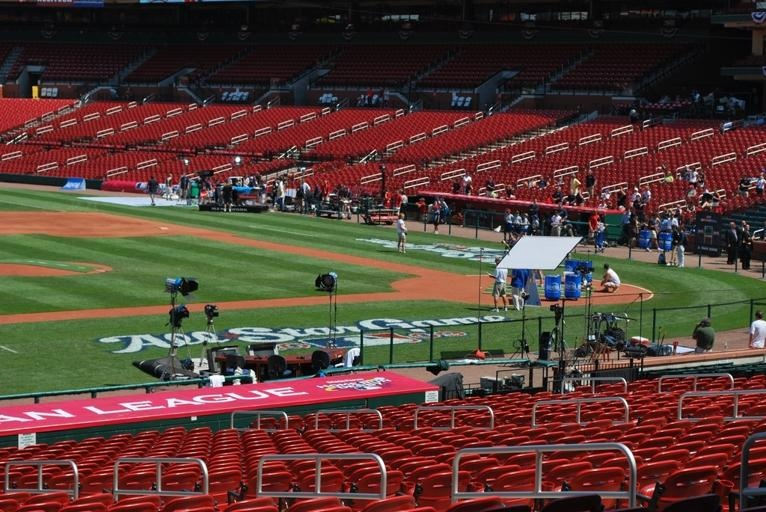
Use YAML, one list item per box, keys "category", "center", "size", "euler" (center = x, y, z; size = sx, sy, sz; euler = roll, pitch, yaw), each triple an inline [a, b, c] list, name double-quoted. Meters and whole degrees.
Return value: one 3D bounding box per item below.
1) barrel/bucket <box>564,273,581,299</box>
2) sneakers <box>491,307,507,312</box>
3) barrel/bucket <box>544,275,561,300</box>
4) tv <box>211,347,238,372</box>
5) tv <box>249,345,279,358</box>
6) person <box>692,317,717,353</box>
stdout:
- category: "barrel/bucket"
  center: [9.381, 1.519, 77.261]
  size: [0.865, 1.336, 1.059]
  euler: [1, -4, 7]
- category: "sneakers"
  center: [5.619, 2.644, 75.674]
  size: [0.756, 0.211, 0.217]
  euler: [-2, 12, -1]
- category: "barrel/bucket"
  center: [8.364, 1.629, 77.184]
  size: [0.803, 1.259, 0.983]
  euler: [1, -4, 4]
- category: "tv"
  center: [-6.789, 4.523, 66.683]
  size: [1.410, 0.685, 0.637]
  euler: [1, 5, -26]
- category: "tv"
  center: [-5.195, 4.144, 67.851]
  size: [1.304, 0.528, 1.041]
  euler: [1, -3, -4]
- category: "person"
  center: [14.228, 3.572, 69.486]
  size: [0.922, 1.554, 1.242]
  euler: [1, -4, 9]
